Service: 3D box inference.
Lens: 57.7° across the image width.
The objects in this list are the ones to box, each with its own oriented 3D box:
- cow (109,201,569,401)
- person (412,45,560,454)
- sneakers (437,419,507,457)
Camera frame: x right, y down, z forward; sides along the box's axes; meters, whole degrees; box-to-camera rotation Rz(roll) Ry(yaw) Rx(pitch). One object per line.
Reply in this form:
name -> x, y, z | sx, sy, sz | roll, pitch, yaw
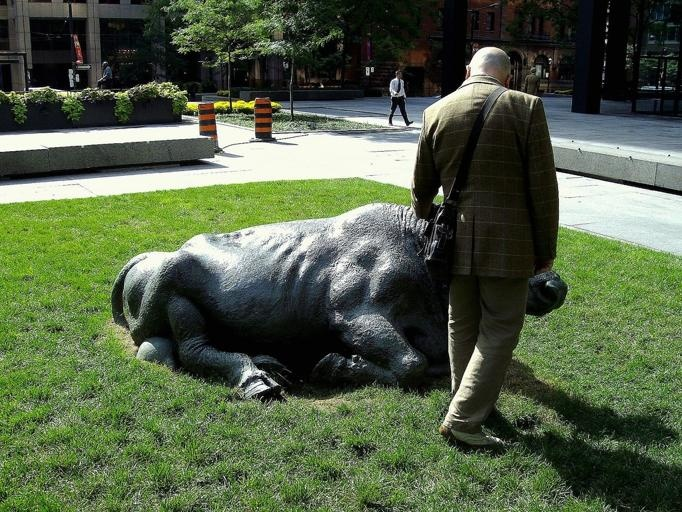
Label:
cow -> -0.288, 0.382, 5.141 | 2.857, 1.272, 1.605 | -3, 7, 10
person -> 0.912, -0.093, 4.121 | 0.829, 2.488, 0.831 | -9, 16, -32
sneakers -> 0.841, 1.166, 4.027 | 0.433, 0.213, 0.156 | 6, 10, -7
